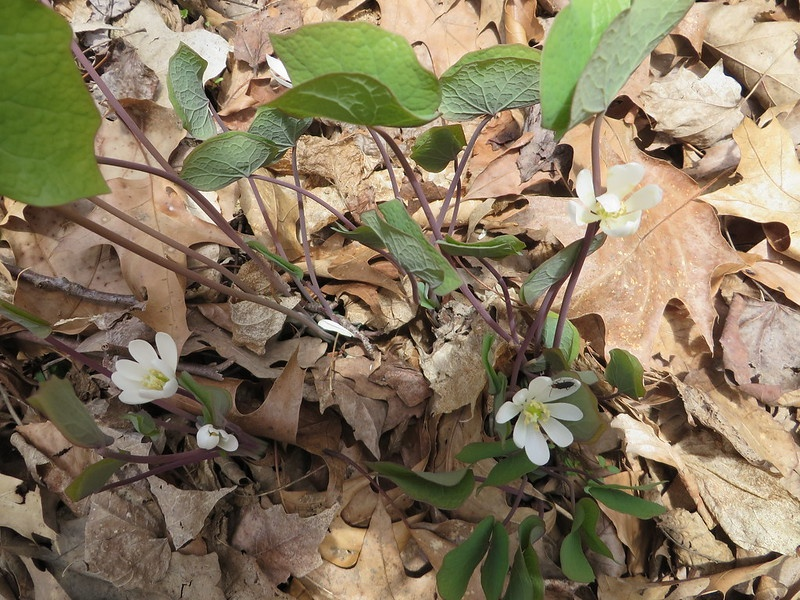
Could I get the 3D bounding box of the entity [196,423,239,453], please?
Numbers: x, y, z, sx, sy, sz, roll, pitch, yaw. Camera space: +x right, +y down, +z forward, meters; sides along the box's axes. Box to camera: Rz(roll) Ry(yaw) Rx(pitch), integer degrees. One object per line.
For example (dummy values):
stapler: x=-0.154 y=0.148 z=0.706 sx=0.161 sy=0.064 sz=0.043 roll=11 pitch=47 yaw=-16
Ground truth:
entity: x=-0.472 y=0.358 z=1.822 sx=0.084 sy=0.084 sz=0.035 roll=37 pitch=97 yaw=41

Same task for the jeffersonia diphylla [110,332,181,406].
jeffersonia diphylla: x=-0.636 y=0.180 z=1.813 sx=0.165 sy=0.108 sz=0.190 roll=-13 pitch=75 yaw=31

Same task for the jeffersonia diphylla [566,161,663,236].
jeffersonia diphylla: x=0.498 y=-0.231 z=1.684 sx=0.165 sy=0.083 sz=0.209 roll=21 pitch=89 yaw=2
